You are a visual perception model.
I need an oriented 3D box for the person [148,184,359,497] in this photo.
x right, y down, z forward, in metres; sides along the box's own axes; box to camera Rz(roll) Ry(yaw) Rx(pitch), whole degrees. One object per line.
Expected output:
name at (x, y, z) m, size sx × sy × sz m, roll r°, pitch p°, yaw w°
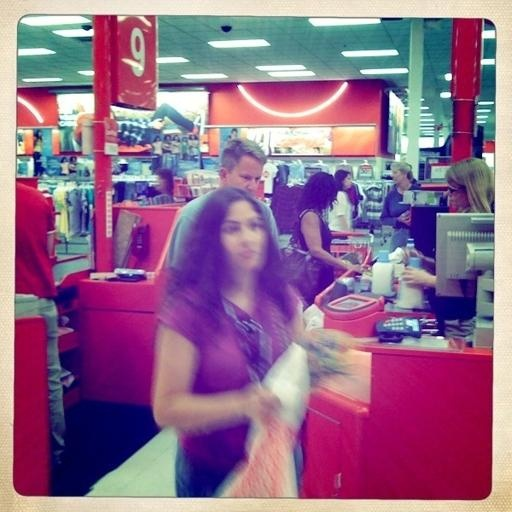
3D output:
person at (-0.065, 0.281, 1.541) m, size 0.509 × 0.995 × 0.297 m, roll 1°, pitch 4°, yaw -14°

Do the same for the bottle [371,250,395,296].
bottle at (0.618, 0.085, 2.335) m, size 0.107 × 0.221 × 0.244 m, roll 3°, pitch 4°, yaw 16°

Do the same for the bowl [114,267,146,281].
bowl at (-0.961, 0.145, 3.680) m, size 0.247 × 0.082 × 0.193 m, roll 1°, pitch 4°, yaw -18°

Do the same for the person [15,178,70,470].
person at (-1.271, 0.391, 2.793) m, size 0.312 × 1.576 × 0.245 m, roll 1°, pitch 4°, yaw -7°

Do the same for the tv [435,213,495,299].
tv at (0.790, -0.007, 1.889) m, size 0.276 × 0.284 × 0.088 m, roll 4°, pitch 8°, yaw 19°

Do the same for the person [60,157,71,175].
person at (-4.492, -2.110, 11.300) m, size 0.151 × 0.454 × 0.812 m, roll -1°, pitch 5°, yaw -28°

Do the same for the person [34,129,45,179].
person at (-5.718, -2.718, 12.626) m, size 0.263 × 1.264 × 0.863 m, roll 0°, pitch 5°, yaw -26°

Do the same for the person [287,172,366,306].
person at (0.443, 0.073, 3.252) m, size 0.359 × 1.307 × 0.361 m, roll 13°, pitch 27°, yaw 23°
